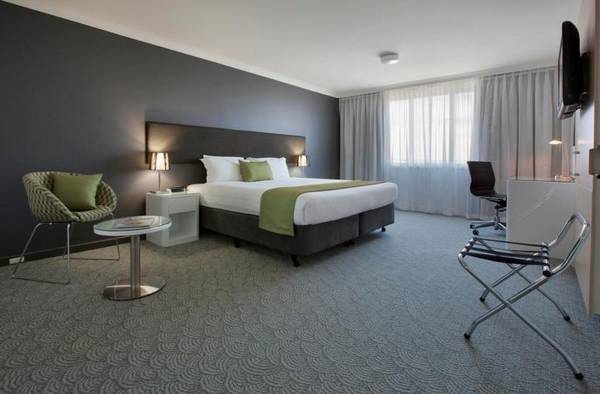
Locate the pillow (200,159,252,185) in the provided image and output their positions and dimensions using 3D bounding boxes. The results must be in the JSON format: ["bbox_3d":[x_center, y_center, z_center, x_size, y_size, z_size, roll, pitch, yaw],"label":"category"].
[{"bbox_3d":[-1.220,-0.421,5.812,0.656,0.406,0.176,-1,-7,-44],"label":"pillow"}]

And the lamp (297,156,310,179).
[{"bbox_3d":[0.092,-0.624,7.581,0.216,0.511,0.513,4,14,17],"label":"lamp"}]

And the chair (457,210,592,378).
[{"bbox_3d":[2.177,0.789,3.560,0.969,1.180,1.261,2,6,34],"label":"chair"}]

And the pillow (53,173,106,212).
[{"bbox_3d":[-2.752,-0.037,4.465,0.461,0.435,0.163,4,-25,-34],"label":"pillow"}]

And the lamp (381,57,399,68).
[{"bbox_3d":[1.498,-2.278,6.007,0.273,0.118,0.259,14,19,43],"label":"lamp"}]

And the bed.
[{"bbox_3d":[-0.170,0.249,5.081,2.806,0.874,1.517,3,14,11],"label":"bed"}]

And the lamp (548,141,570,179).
[{"bbox_3d":[4.374,-0.629,6.186,0.219,0.653,0.239,-2,6,12],"label":"lamp"}]

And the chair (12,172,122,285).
[{"bbox_3d":[-2.887,0.302,4.451,0.906,1.231,1.051,0,4,-2],"label":"chair"}]

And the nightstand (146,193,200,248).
[{"bbox_3d":[-1.921,0.325,5.417,0.609,0.717,0.699,3,5,43],"label":"nightstand"}]

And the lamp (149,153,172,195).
[{"bbox_3d":[-2.097,-0.369,5.410,0.299,0.575,0.359,-5,15,-21],"label":"lamp"}]
